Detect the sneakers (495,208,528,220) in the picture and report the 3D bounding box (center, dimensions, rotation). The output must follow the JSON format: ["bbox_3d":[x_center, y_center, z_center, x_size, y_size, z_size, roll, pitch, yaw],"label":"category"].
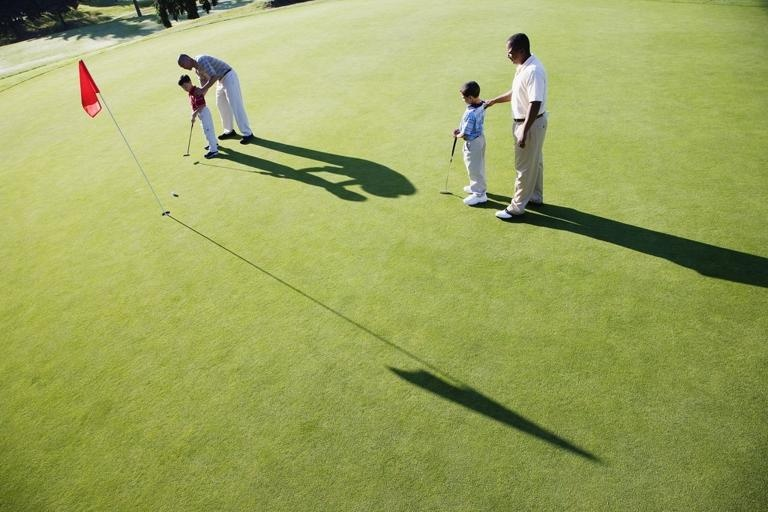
[{"bbox_3d":[1.834,-0.604,8.500,0.321,0.123,0.178,5,20,5],"label":"sneakers"}]

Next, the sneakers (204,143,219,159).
[{"bbox_3d":[-3.043,-1.909,10.539,0.400,0.165,0.156,-15,71,-13],"label":"sneakers"}]

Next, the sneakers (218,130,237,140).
[{"bbox_3d":[-3.006,-2.331,11.195,0.362,0.151,0.150,-20,60,-14],"label":"sneakers"}]

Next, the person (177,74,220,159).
[{"bbox_3d":[-3.464,-2.602,10.497,0.622,1.433,1.243,-20,35,-12],"label":"person"}]

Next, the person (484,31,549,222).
[{"bbox_3d":[1.927,-1.788,8.145,0.691,2.411,1.002,-1,35,16],"label":"person"}]

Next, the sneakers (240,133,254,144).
[{"bbox_3d":[-2.555,-2.202,10.928,0.126,0.144,0.273,-1,28,48],"label":"sneakers"}]

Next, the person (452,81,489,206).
[{"bbox_3d":[1.286,-1.646,8.524,0.457,1.769,0.644,-4,35,11],"label":"person"}]
